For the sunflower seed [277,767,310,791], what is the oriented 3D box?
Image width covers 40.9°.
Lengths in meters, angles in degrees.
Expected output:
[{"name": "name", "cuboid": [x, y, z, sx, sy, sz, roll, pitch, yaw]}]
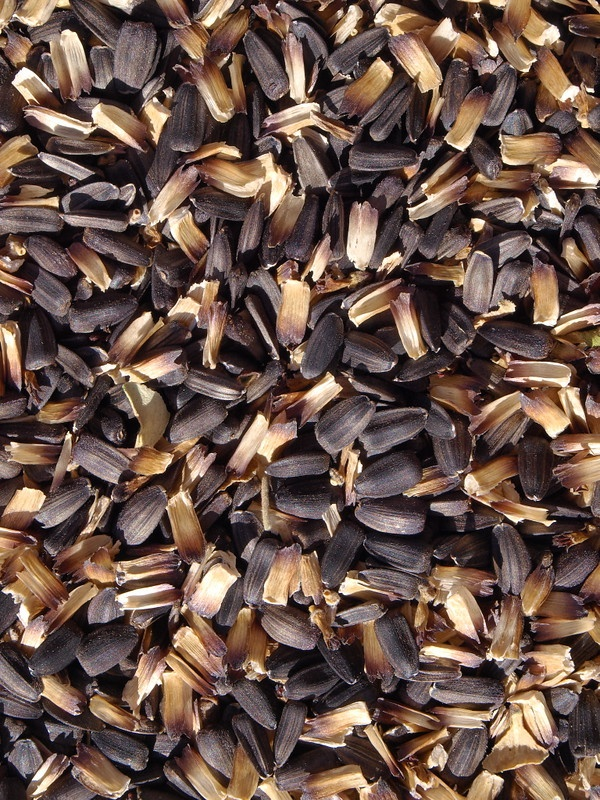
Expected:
[{"name": "sunflower seed", "cuboid": [-0.008, 0.473, 1.010, 0.039, 0.015, 0.021, 4, 97, 15]}]
